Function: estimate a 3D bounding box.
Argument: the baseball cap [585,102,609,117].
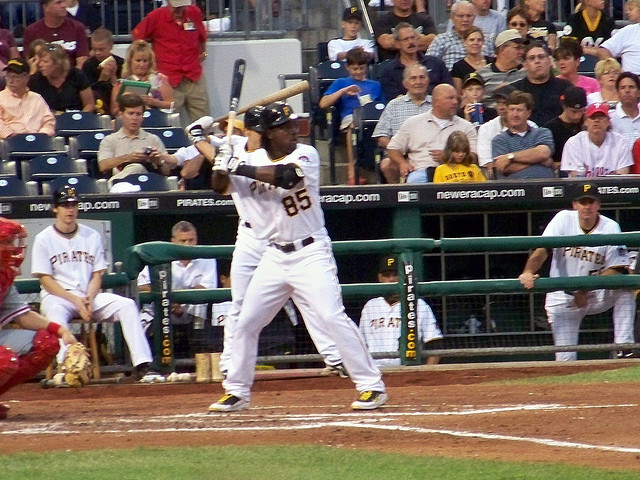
[{"bbox_3d":[2.742,-1.285,14.905,0.215,0.130,0.164,0,9,9],"label":"baseball cap"}]

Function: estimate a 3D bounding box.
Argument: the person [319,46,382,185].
[{"bbox_3d":[0.348,-1.406,16.322,0.733,1.216,0.782,0,-3,4],"label":"person"}]

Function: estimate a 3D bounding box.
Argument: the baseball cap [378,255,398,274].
[{"bbox_3d":[0.653,0.235,14.390,0.138,0.189,0.321,-5,9,-16],"label":"baseball cap"}]

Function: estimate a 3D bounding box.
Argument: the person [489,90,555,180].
[{"bbox_3d":[2.011,-1.034,14.915,0.656,0.867,0.417,-2,9,-2],"label":"person"}]

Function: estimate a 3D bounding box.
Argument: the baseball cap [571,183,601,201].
[{"bbox_3d":[2.490,-0.450,14.116,0.237,0.157,0.322,-4,9,-18],"label":"baseball cap"}]

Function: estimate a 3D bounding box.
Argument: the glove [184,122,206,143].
[{"bbox_3d":[-1.057,-0.905,12.733,0.145,0.165,0.277,-2,8,-3],"label":"glove"}]

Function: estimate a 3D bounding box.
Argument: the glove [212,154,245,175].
[{"bbox_3d":[-0.747,-0.607,12.148,0.203,0.071,0.195,10,0,-40],"label":"glove"}]

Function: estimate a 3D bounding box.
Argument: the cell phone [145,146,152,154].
[{"bbox_3d":[-1.730,-0.896,15.154,0.072,0.062,0.054,-3,9,-9],"label":"cell phone"}]

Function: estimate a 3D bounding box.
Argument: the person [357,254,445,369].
[{"bbox_3d":[0.753,0.758,14.315,1.040,1.115,0.434,-10,-8,39],"label":"person"}]

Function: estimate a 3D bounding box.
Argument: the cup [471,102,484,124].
[{"bbox_3d":[1.632,-1.310,15.587,0.131,0.212,0.208,-1,9,5],"label":"cup"}]

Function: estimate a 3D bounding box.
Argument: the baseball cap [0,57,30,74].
[{"bbox_3d":[-3.188,-1.838,15.826,0.183,0.116,0.227,5,-5,15],"label":"baseball cap"}]

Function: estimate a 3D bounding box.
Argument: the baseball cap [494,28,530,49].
[{"bbox_3d":[2.022,-2.150,15.985,0.365,0.145,0.216,-11,6,18],"label":"baseball cap"}]

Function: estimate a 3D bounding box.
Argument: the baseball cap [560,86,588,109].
[{"bbox_3d":[2.560,-1.434,15.193,0.253,0.221,0.249,1,9,19],"label":"baseball cap"}]

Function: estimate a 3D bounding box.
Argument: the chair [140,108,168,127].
[{"bbox_3d":[-1.766,-1.299,16.124,0.252,0.137,0.221,1,-4,-8],"label":"chair"}]
